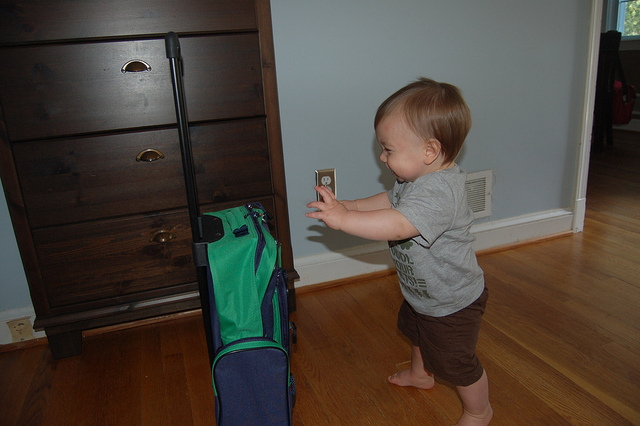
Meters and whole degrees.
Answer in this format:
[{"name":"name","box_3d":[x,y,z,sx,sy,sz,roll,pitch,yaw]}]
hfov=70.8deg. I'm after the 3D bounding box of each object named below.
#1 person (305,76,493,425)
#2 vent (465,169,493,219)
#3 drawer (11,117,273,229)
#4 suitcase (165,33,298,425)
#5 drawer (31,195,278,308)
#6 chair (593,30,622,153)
[{"name":"person","box_3d":[0.345,0.176,1.707,0.523,1.273,0.352,-4,19,19]},{"name":"vent","box_3d":[0.870,-0.119,2.481,0.256,0.287,0.027,-10,15,-18]},{"name":"drawer","box_3d":[-0.775,-0.106,2.233,1.137,0.486,0.575,-6,-20,-11]},{"name":"suitcase","box_3d":[-0.330,0.082,1.625,0.328,1.407,0.426,-11,18,-1]},{"name":"drawer","box_3d":[-0.876,0.096,2.241,1.036,0.498,0.339,-12,39,-41]},{"name":"chair","box_3d":[3.027,-1.290,4.663,0.324,1.185,0.310,-25,21,-36]}]
